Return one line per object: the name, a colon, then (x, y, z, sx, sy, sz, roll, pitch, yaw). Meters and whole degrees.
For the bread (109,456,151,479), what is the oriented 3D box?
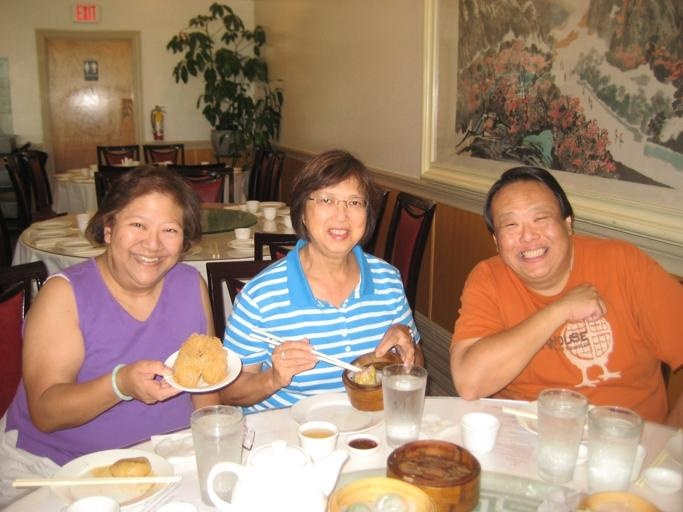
bread: (-0.479, 0.469, 1.097, 0.050, 0.016, 0.050, -3, 18, -28)

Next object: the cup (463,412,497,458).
cup: (0.347, 0.445, 1.235, 0.081, 0.071, 0.090, -1, 1, -2)

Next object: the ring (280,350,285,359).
ring: (-0.175, 0.288, 1.428, 0.014, 0.019, 0.008, 0, 0, 9)

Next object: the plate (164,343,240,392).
plate: (-0.373, 0.323, 1.382, 0.168, 0.053, 0.243, 11, 18, 43)

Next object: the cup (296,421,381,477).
cup: (-0.003, 0.452, 1.188, 0.161, 0.062, 0.108, 3, 19, 17)

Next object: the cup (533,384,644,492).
cup: (0.559, 0.424, 1.125, 0.213, 0.178, 0.130, 7, 15, 32)

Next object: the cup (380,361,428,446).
cup: (0.157, 0.380, 1.241, 0.107, 0.186, 0.094, 0, 12, 9)

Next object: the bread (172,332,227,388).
bread: (-0.397, 0.292, 1.406, 0.162, 0.063, 0.190, 14, 17, -31)
